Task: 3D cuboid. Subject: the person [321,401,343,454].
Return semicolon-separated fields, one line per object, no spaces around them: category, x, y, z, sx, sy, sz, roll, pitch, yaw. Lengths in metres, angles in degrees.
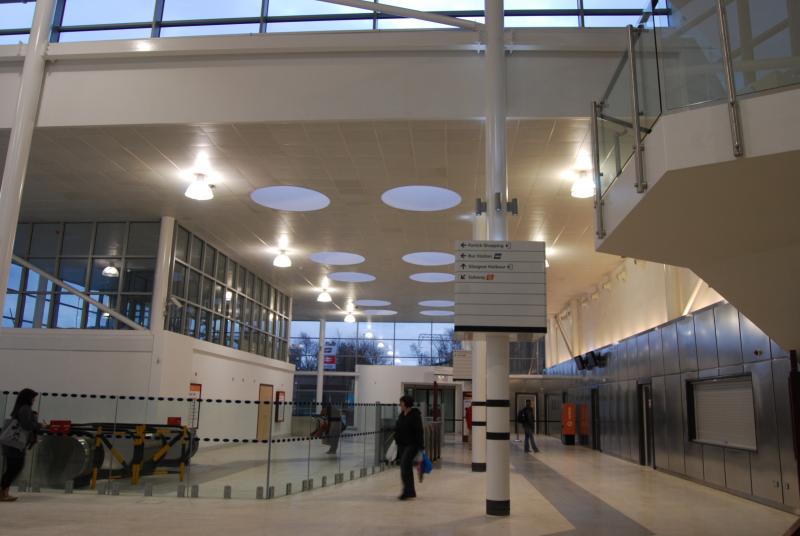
person;-2.102;4.658;17.271;0.591;1.533;0.389;8;-12;-19
